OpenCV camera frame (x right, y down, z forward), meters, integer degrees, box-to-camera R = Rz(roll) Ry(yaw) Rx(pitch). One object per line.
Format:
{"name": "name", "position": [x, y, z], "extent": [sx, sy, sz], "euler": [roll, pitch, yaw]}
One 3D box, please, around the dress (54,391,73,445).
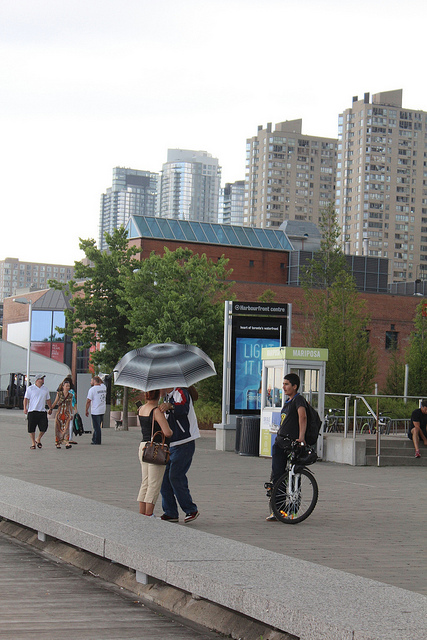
{"name": "dress", "position": [-4.069, 2.645, 23.158], "extent": [0.407, 1.446, 0.639], "euler": [3, -6, -11]}

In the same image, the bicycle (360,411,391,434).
{"name": "bicycle", "position": [5.131, 3.359, 27.348], "extent": [0.777, 0.817, 1.296], "euler": [2, 3, 2]}

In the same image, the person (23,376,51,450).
{"name": "person", "position": [-4.653, 2.421, 22.388], "extent": [0.602, 1.892, 1.535], "euler": [3, -6, -12]}

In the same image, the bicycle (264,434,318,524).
{"name": "bicycle", "position": [0.997, 1.998, 10.380], "extent": [0.543, 0.729, 1.120], "euler": [1, -15, -11]}

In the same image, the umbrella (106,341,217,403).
{"name": "umbrella", "position": [-0.547, 0.559, 9.550], "extent": [1.101, 0.696, 0.970], "euler": [3, -6, -11]}

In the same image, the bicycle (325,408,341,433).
{"name": "bicycle", "position": [3.973, 3.354, 28.129], "extent": [0.573, 0.724, 1.181], "euler": [2, 2, 7]}

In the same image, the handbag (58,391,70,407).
{"name": "handbag", "position": [-4.035, 2.133, 23.088], "extent": [0.158, 0.379, 0.404], "euler": [7, -8, -41]}

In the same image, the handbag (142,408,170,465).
{"name": "handbag", "position": [-0.624, 1.367, 9.166], "extent": [0.274, 0.357, 0.134], "euler": [3, -6, -8]}
